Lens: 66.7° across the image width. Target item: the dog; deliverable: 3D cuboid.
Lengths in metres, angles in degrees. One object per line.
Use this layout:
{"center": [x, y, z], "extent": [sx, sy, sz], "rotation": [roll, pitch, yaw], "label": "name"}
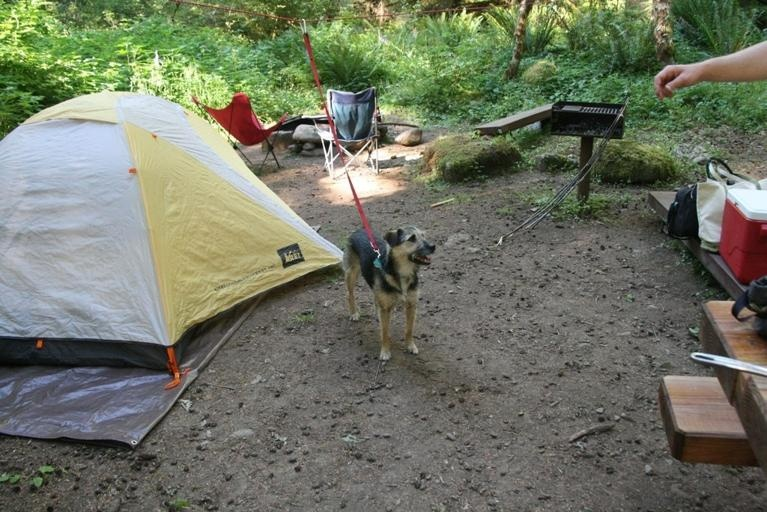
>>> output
{"center": [0.032, 0.252, 5.755], "extent": [0.668, 1.245, 1.020], "rotation": [-18, 36, -18], "label": "dog"}
